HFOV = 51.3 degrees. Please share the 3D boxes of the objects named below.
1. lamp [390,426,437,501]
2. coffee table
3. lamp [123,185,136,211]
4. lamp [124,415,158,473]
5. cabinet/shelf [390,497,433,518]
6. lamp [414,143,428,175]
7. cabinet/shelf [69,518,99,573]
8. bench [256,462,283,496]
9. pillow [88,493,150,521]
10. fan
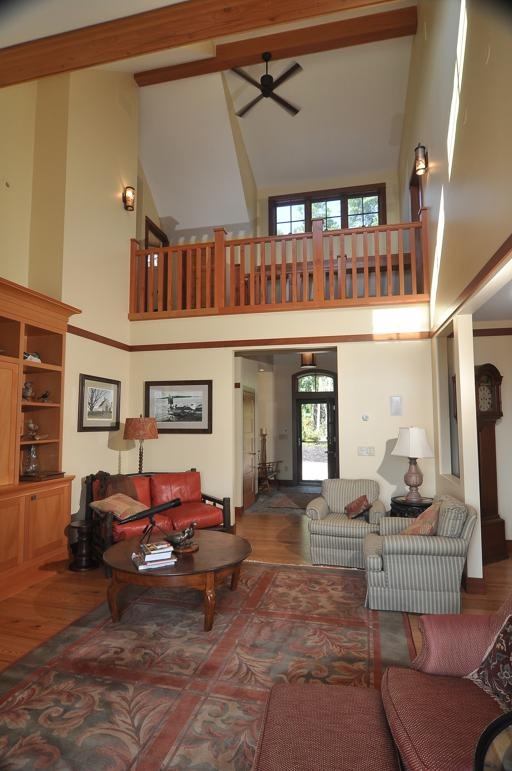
[{"bbox_3d":[1.591,0.789,5.361,0.389,0.696,0.385,-2,-3,21],"label":"lamp"},{"bbox_3d":[-0.585,1.289,3.729,0.649,0.282,0.683,0,2,8],"label":"coffee table"},{"bbox_3d":[-1.641,-2.450,6.939,0.124,0.357,0.311,0,-3,-5],"label":"lamp"},{"bbox_3d":[-1.357,0.726,6.305,0.361,0.691,1.163,1,-2,-12],"label":"lamp"},{"bbox_3d":[1.522,1.217,5.302,0.306,0.197,0.307,1,-3,-41],"label":"cabinet/shelf"},{"bbox_3d":[1.830,-2.532,5.918,0.119,0.381,0.312,0,-3,12],"label":"lamp"},{"bbox_3d":[-1.601,1.508,4.996,0.279,0.413,0.289,0,-4,-3],"label":"cabinet/shelf"},{"bbox_3d":[0.271,1.778,10.373,0.484,0.684,0.574,-1,1,29],"label":"bench"},{"bbox_3d":[-1.288,1.119,4.965,0.391,0.133,0.428,21,5,0],"label":"pillow"},{"bbox_3d":[0.104,-4.140,7.241,0.873,0.702,0.839,9,-19,-25],"label":"fan"}]
